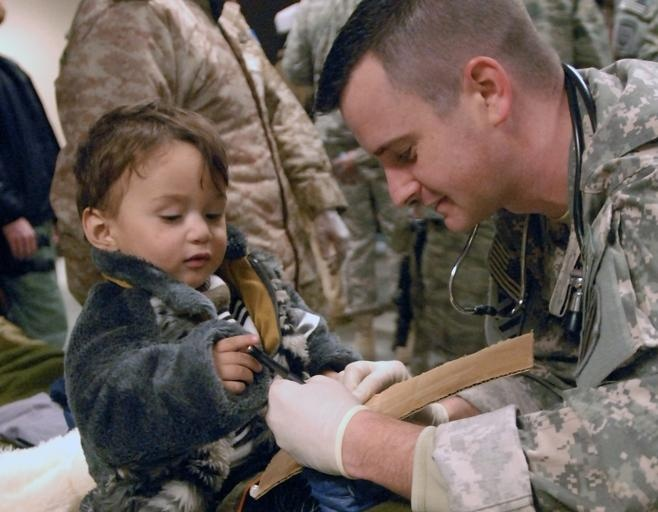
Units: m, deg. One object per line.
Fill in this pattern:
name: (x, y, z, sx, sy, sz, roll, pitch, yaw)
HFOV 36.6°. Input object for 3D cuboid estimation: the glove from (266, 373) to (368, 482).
glove: (-0.027, 0.416, 2.507, 0.175, 0.169, 0.228, -28, 13, -40)
